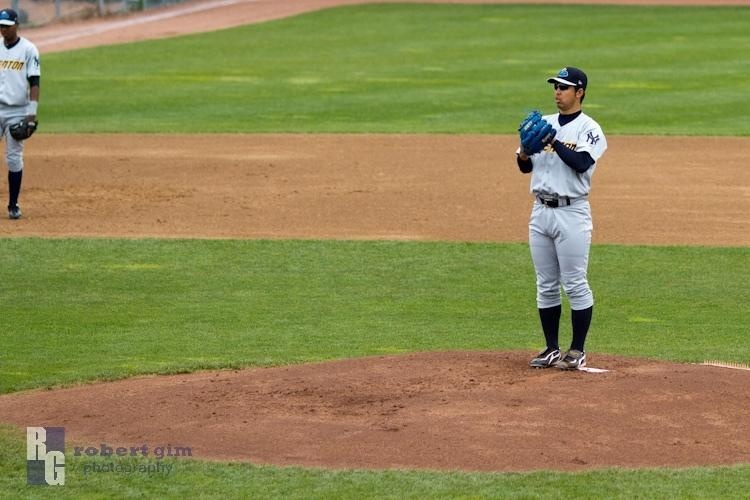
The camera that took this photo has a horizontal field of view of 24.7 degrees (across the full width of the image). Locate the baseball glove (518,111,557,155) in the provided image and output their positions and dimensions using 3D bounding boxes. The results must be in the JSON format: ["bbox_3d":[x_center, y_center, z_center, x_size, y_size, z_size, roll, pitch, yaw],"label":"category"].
[{"bbox_3d":[2.362,-1.707,25.275,0.540,0.607,0.270,4,-1,13],"label":"baseball glove"}]

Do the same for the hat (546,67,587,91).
[{"bbox_3d":[2.836,-2.529,25.489,0.521,0.210,0.338,6,5,-7],"label":"hat"}]

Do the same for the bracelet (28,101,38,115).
[{"bbox_3d":[-6.055,-2.468,30.003,0.183,0.232,0.447,-4,6,-13],"label":"bracelet"}]

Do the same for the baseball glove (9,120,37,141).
[{"bbox_3d":[-6.156,-2.071,30.001,0.476,0.308,0.212,-16,-8,-1],"label":"baseball glove"}]

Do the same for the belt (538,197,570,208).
[{"bbox_3d":[2.640,-0.700,25.451,0.485,0.157,0.127,1,7,31],"label":"belt"}]
